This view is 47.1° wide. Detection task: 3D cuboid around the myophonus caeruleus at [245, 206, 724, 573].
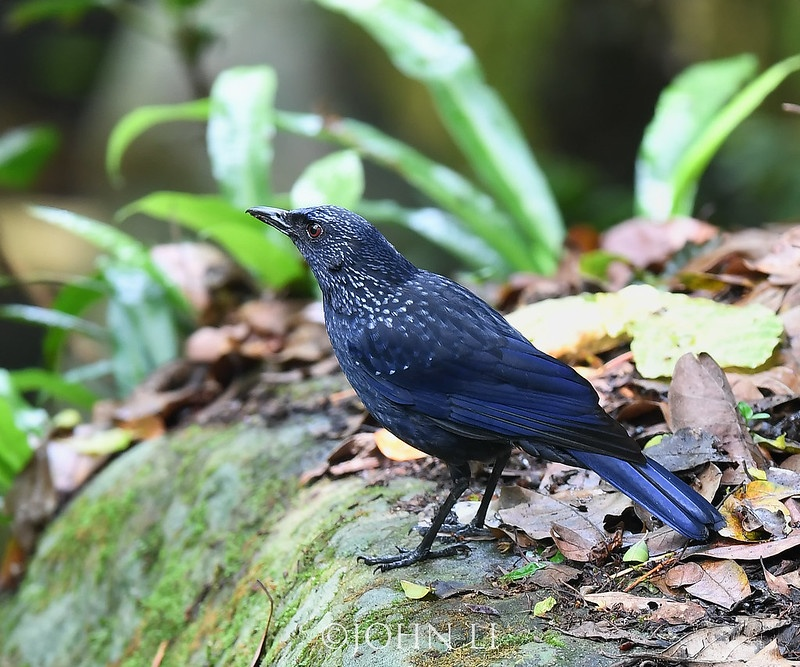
[{"bbox_3d":[0.476,0.105,4.030,1.420,1.423,1.899,10,19,37],"label":"myophonus caeruleus"}]
